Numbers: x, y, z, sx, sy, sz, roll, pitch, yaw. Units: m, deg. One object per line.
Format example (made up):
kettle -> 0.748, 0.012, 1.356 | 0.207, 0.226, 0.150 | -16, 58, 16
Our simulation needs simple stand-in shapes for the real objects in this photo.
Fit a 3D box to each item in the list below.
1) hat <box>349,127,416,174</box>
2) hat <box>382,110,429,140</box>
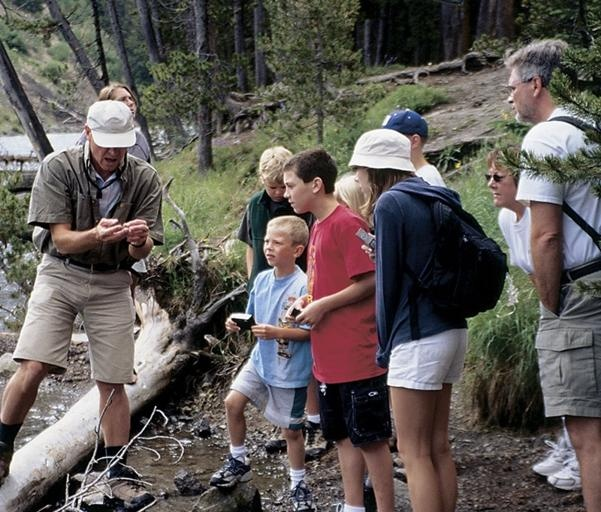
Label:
hat -> 0.479, -0.613, 4.253 | 0.274, 0.162, 0.287 | 3, 8, -1
hat -> 0.728, -0.963, 5.176 | 0.312, 0.141, 0.205 | 27, 20, 19
